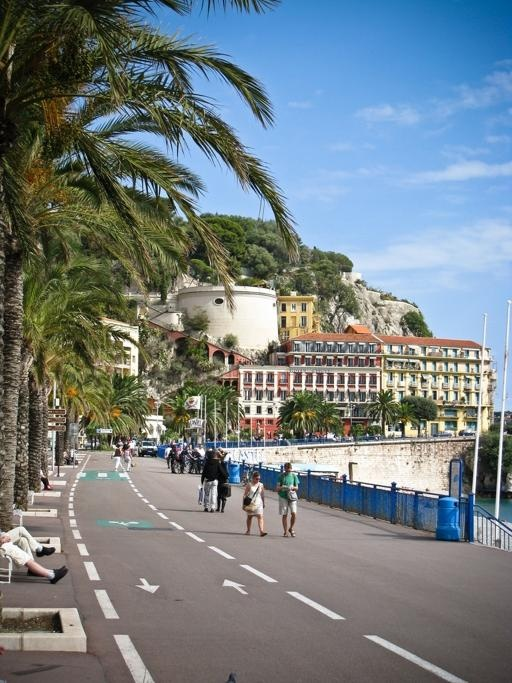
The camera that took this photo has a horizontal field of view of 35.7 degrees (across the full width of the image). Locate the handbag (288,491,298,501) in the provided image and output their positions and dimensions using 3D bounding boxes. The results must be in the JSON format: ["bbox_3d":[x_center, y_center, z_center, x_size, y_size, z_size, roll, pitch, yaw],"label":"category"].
[{"bbox_3d":[0.805,3.298,16.983,0.192,0.214,0.243,5,-6,-28],"label":"handbag"}]

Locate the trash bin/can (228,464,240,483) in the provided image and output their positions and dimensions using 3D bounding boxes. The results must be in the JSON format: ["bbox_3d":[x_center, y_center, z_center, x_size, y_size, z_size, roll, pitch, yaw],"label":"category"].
[{"bbox_3d":[-1.075,6.788,40.834,0.563,0.989,1.427,2,-6,1],"label":"trash bin/can"}]

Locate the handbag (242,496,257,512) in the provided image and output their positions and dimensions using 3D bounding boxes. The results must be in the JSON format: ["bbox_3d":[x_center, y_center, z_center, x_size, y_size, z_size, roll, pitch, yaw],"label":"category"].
[{"bbox_3d":[-0.114,3.470,16.845,0.220,0.336,0.135,7,2,32],"label":"handbag"}]

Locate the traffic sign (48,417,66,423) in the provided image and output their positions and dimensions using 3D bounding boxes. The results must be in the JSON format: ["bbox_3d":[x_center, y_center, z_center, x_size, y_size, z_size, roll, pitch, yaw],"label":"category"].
[{"bbox_3d":[-7.471,2.920,29.715,0.647,0.300,0.159,2,-2,-1],"label":"traffic sign"}]

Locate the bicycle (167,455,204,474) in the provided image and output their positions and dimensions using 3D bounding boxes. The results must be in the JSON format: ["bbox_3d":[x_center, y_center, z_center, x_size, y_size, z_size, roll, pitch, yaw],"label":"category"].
[{"bbox_3d":[-4.069,7.206,46.866,1.800,1.258,1.094,-2,-12,10],"label":"bicycle"}]

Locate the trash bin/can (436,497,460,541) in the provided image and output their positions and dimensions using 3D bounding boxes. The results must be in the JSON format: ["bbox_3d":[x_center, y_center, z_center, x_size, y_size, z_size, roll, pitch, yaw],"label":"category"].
[{"bbox_3d":[4.058,3.713,16.666,0.482,0.906,0.382,1,-5,15],"label":"trash bin/can"}]

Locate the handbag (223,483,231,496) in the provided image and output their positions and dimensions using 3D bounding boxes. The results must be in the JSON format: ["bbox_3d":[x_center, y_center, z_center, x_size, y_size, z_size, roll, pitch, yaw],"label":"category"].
[{"bbox_3d":[-0.775,4.010,21.433,0.163,0.370,0.362,2,-5,2],"label":"handbag"}]

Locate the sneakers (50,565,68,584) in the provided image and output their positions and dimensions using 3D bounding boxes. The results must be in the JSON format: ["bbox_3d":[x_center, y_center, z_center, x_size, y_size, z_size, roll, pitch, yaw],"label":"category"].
[{"bbox_3d":[-2.407,2.903,9.792,0.232,0.092,0.139,-39,38,-18],"label":"sneakers"}]

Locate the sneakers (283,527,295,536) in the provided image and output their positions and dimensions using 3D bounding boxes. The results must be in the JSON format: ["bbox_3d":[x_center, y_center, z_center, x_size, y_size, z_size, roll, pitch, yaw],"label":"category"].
[{"bbox_3d":[0.719,4.010,16.693,0.213,0.172,0.449,2,-6,2],"label":"sneakers"}]

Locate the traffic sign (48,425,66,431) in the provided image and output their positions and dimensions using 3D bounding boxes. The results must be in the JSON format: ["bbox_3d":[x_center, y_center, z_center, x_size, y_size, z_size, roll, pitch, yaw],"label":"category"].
[{"bbox_3d":[-7.349,3.177,29.249,0.586,0.189,1.288,4,-6,-16],"label":"traffic sign"}]
